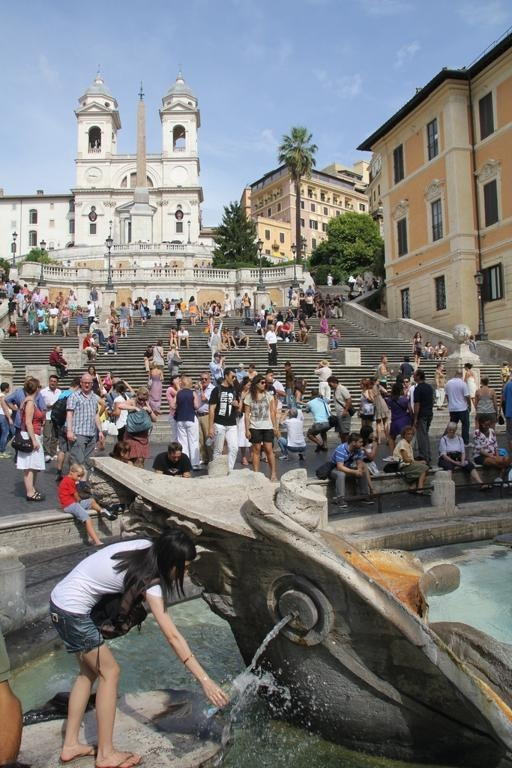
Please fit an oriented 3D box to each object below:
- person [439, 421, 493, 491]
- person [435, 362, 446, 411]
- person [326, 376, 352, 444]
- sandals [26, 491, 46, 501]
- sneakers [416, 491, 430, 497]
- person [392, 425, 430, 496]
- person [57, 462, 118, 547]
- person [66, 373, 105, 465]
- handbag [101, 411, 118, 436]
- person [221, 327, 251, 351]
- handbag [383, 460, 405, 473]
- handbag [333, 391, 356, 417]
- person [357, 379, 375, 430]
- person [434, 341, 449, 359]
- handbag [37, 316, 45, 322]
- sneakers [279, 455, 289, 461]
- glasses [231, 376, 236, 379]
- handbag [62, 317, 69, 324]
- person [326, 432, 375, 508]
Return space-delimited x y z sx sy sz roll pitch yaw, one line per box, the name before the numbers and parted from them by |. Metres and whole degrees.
person | 3.236 1.115 9.758 0.510 0.853 1.133 -3 7 -2
person | 5.597 0.191 18.702 0.267 1.018 0.815 -1 1 16
person | 1.744 0.614 13.125 0.693 0.610 1.599 1 41 1
sandals | -3.021 1.549 8.414 0.122 0.096 0.226 0 -6 -39
sneakers | 2.482 1.635 9.151 0.210 0.089 0.294 -1 1 13
person | 2.456 1.185 9.514 0.528 0.799 0.772 -1 1 -19
person | -1.892 1.317 6.871 0.615 0.820 0.474 7 -3 5
person | -2.462 0.630 8.705 0.383 1.278 0.645 -1 1 15
handbag | -2.957 0.811 12.388 0.235 0.456 0.435 -15 -20 -21
person | -0.909 -1.828 25.299 0.824 0.933 1.227 1 -5 -14
handbag | 2.155 1.323 9.622 0.248 0.248 0.187 6 -12 -8
handbag | 1.862 0.445 13.054 0.364 0.568 0.722 -12 -15 31
person | 2.391 0.445 13.209 0.320 0.884 1.207 -1 1 9
person | 7.378 -1.344 24.610 0.644 0.905 0.649 -3 -6 10
handbag | -9.656 -2.891 27.462 0.339 0.286 0.132 -1 1 21
sneakers | 0.566 1.542 12.612 0.160 0.118 0.079 3 -1 21
glasses | -0.344 -0.098 9.564 0.045 0.065 0.160 -1 1 -7
handbag | -8.585 -2.854 27.581 0.269 0.397 0.605 -2 1 -23
person | 1.349 1.165 8.556 0.516 0.945 0.658 3 4 -14
